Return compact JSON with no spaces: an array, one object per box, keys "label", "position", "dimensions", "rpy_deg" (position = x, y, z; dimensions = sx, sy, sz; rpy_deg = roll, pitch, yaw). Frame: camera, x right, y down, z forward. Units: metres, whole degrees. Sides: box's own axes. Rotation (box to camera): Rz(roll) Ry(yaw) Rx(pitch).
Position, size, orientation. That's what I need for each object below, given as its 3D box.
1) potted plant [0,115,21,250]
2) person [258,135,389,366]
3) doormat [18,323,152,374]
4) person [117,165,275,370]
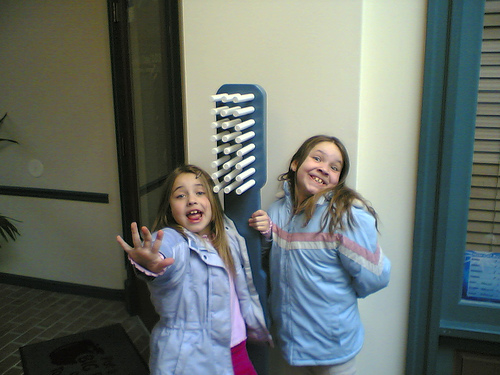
[{"label":"potted plant","position":[-1.623,-0.018,3.149],"dimensions":[0.160,0.923,0.285],"rpy_deg":[-5,10,-27]},{"label":"person","position":[0.295,0.259,1.902],"dimensions":[0.516,0.923,0.214],"rpy_deg":[2,9,15]},{"label":"doormat","position":[-0.780,0.781,2.167],"dimensions":[0.492,0.089,0.448],"rpy_deg":[-5,10,-29]},{"label":"person","position":[-0.147,0.369,1.773],"dimensions":[0.474,0.867,0.346],"rpy_deg":[0,8,1]}]
